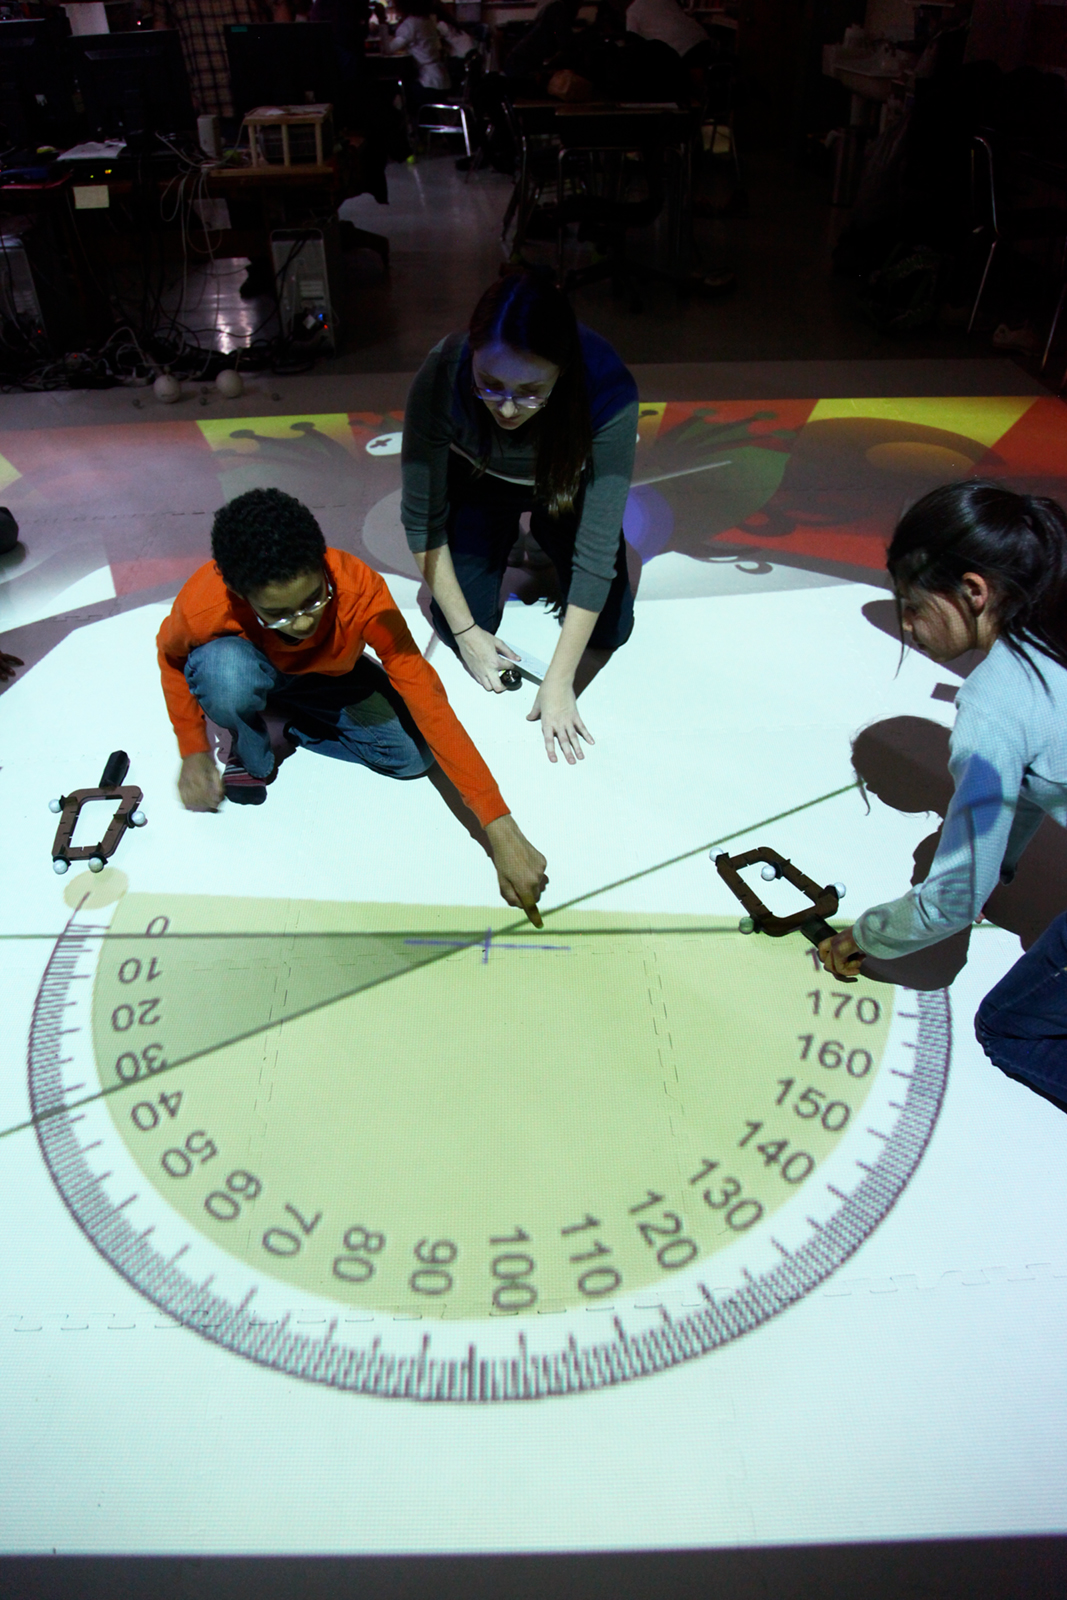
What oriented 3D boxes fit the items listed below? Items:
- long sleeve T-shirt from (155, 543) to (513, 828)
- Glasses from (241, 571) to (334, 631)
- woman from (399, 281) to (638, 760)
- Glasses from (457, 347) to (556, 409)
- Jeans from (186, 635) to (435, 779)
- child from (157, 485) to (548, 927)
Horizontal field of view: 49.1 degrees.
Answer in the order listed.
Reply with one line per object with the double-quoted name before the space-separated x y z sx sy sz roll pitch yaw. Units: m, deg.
"long sleeve T-shirt" -0.308 -0.190 1.851 0.466 0.206 0.547 -22 81 -3
"Glasses" -0.337 -0.287 1.698 0.078 0.041 0.098 -24 20 -10
"woman" -0.014 -0.583 2.171 0.455 0.839 0.744 -2 65 0
"Glasses" -0.020 -0.684 1.887 0.133 0.120 0.092 -1 42 -1
"Jeans" -0.403 -0.148 2.145 0.372 0.250 0.407 -5 2 -19
"child" -0.297 -0.138 2.071 0.458 0.634 0.682 -20 72 -19
